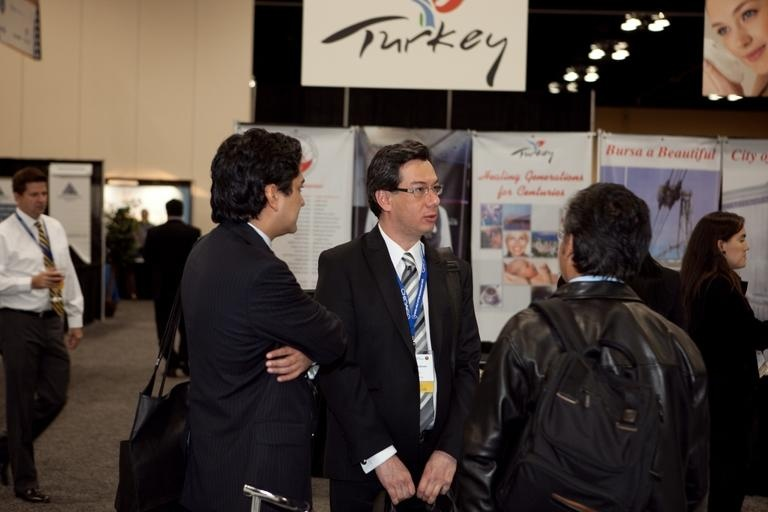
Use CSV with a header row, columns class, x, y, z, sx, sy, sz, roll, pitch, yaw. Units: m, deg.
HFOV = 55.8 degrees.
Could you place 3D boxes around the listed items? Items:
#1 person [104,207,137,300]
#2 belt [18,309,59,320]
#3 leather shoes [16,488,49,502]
class,x,y,z,sx,sy,sz,roll,pitch,yaw
person,-4.456,-0.001,12.329,0.483,1.657,1.772,-2,6,-21
belt,-2.738,0.461,5.767,0.285,0.082,0.036,-3,6,-31
leather shoes,-2.694,1.844,5.631,0.265,0.120,0.111,3,2,-3
